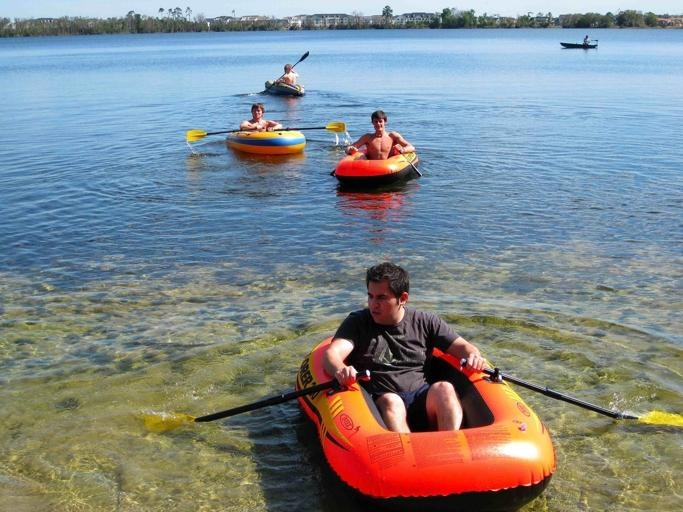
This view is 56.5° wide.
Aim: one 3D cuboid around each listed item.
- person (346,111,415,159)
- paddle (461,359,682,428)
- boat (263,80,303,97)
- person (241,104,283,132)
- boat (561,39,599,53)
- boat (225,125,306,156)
[{"bbox_3d":[0.869,-2.641,14.392,1.685,0.926,0.668,-3,34,-5],"label":"person"},{"bbox_3d":[2.367,1.422,6.459,3.155,0.393,0.281,6,62,-3],"label":"paddle"},{"bbox_3d":[-2.770,-8.054,30.540,0.819,0.718,2.117,-20,27,-39],"label":"boat"},{"bbox_3d":[-2.410,-3.943,18.244,1.185,0.507,1.309,-3,10,-11],"label":"person"},{"bbox_3d":[26.420,-23.250,70.348,3.693,0.905,5.240,5,19,14],"label":"boat"},{"bbox_3d":[-2.063,-3.084,17.243,2.046,0.613,0.835,2,22,6],"label":"boat"}]
